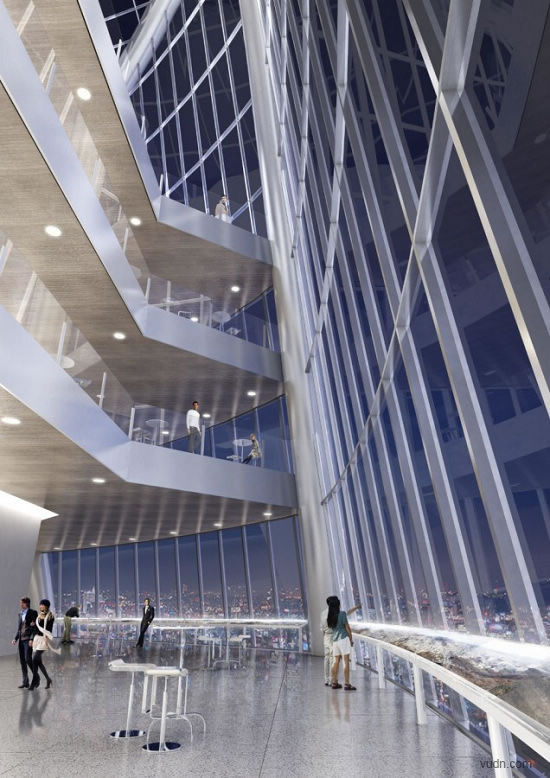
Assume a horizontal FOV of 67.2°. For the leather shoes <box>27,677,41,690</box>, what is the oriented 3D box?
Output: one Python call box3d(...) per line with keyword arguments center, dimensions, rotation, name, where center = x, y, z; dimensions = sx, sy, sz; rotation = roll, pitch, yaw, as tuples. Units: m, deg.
box3d(center=(-5.266, 6.415, 8.982), dimensions=(0.138, 0.202, 0.447), rotation=(8, -21, -17), name="leather shoes")
